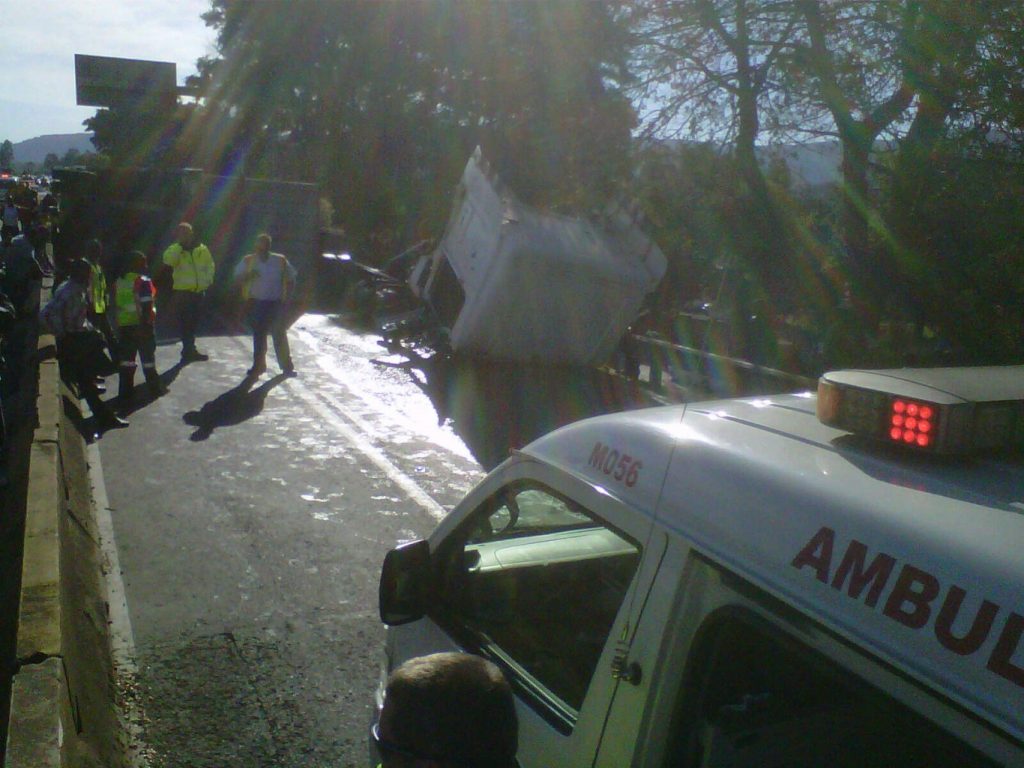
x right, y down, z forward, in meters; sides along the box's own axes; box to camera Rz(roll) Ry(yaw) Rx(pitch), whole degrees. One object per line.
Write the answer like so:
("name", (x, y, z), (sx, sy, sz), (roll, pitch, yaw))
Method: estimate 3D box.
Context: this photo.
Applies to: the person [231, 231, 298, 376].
("person", (-3.562, -1.093, 10.998), (0.879, 1.866, 1.290), (-13, 6, -17))
